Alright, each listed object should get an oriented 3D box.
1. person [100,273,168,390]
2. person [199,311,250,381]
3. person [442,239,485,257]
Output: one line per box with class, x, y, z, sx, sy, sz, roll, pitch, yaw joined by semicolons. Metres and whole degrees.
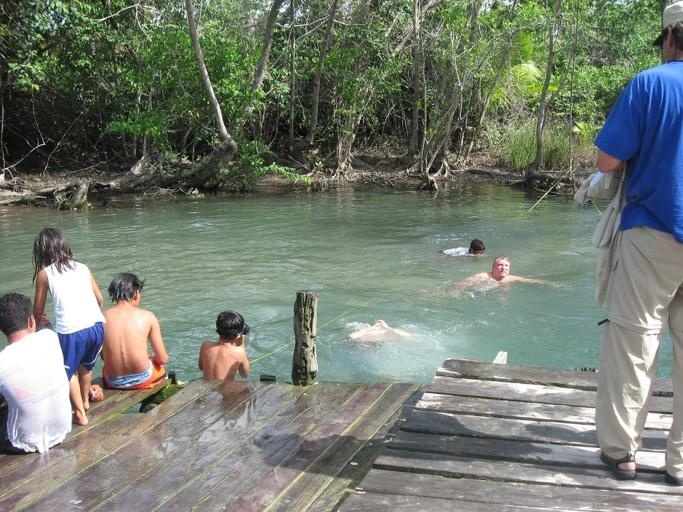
person;-2.342;0.838;6.356;0.677;1.237;0.422;-6;14;-22
person;-1.397;1.077;6.871;0.561;0.864;0.535;7;15;33
person;3.018;-0.152;14.001;0.799;0.302;0.486;5;10;36
